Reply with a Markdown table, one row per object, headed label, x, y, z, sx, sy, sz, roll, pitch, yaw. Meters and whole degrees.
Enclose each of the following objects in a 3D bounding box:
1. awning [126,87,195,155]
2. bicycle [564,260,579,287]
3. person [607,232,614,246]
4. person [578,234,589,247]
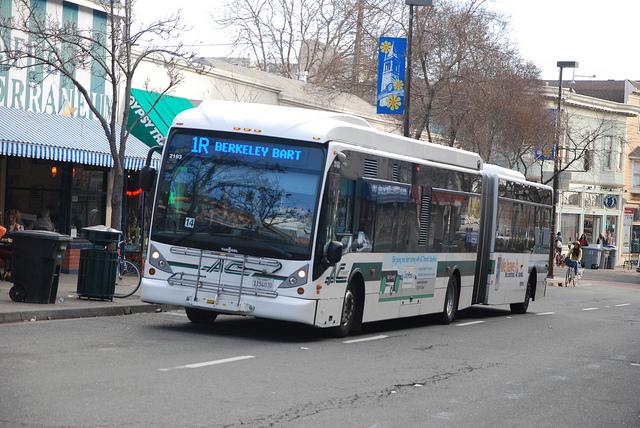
| label | x | y | z | sx | sy | sz | roll | pitch | yaw |
| --- | --- | --- | --- | --- | --- | --- | --- | --- | --- |
| awning | -5.021 | -2.763 | 19.147 | 1.733 | 1.720 | 3.469 | -6 | 11 | 9 |
| bicycle | 13.436 | 3.224 | 33.989 | 0.695 | 1.361 | 1.323 | 3 | -3 | 21 |
| person | 27.862 | 2.374 | 61.102 | 0.350 | 1.154 | 1.402 | 2 | -3 | 36 |
| person | 21.350 | 2.176 | 51.674 | 0.830 | 1.259 | 0.511 | -3 | -16 | 13 |
